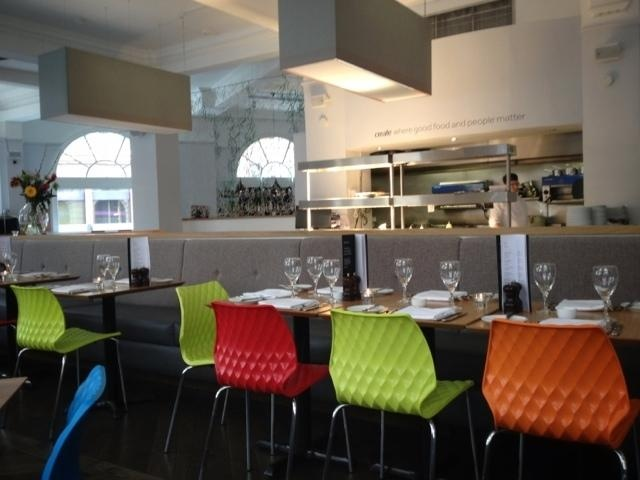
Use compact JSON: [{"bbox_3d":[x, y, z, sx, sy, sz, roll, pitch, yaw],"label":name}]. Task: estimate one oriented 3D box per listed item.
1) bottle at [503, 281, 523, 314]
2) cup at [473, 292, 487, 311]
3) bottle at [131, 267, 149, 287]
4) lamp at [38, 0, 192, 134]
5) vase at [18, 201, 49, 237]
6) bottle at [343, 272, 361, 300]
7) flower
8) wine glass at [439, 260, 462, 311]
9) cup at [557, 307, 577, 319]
[{"bbox_3d":[0.979,0.292,2.672,0.098,0.148,0.117,-1,3,13],"label":"bottle"},{"bbox_3d":[0.888,0.345,2.921,0.067,0.117,0.069,-1,5,0],"label":"cup"},{"bbox_3d":[-1.366,0.281,3.998,0.123,0.155,0.126,1,3,0],"label":"bottle"},{"bbox_3d":[-2.404,-2.119,6.200,0.488,0.671,1.785,3,4,35],"label":"lamp"},{"bbox_3d":[-3.359,-0.233,6.170,0.341,0.464,0.337,0,4,-33],"label":"vase"},{"bbox_3d":[0.183,0.280,3.114,0.122,0.227,0.130,0,-2,0],"label":"bottle"},{"bbox_3d":[-3.283,-0.428,6.094,0.464,0.717,0.703,-4,4,-28],"label":"flower"},{"bbox_3d":[0.744,0.221,3.011,0.094,0.250,0.525,-1,3,14],"label":"wine glass"},{"bbox_3d":[1.160,0.341,2.478,0.050,0.048,0.066,2,-6,-28],"label":"cup"}]
